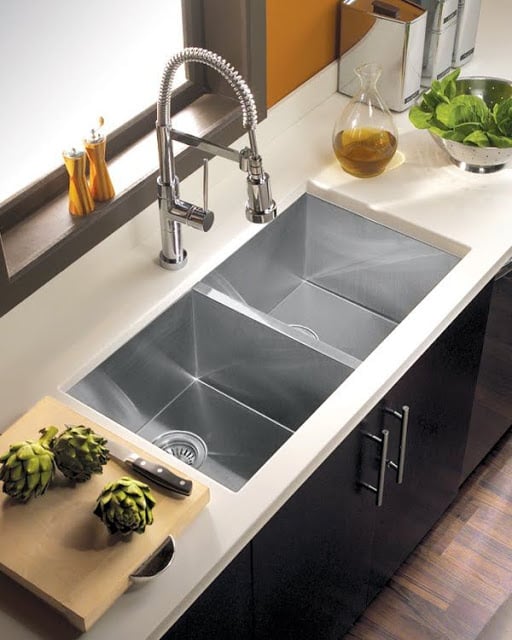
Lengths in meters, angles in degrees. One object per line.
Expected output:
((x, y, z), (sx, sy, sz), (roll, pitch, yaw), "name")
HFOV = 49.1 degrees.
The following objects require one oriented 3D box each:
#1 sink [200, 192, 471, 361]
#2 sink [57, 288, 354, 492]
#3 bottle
((0.161, -0.094, 1.304), (0.450, 0.283, 0.449), (33, 61, 23), "sink")
((-0.087, 0.189, 1.106), (0.431, 0.259, 0.430), (30, 50, 24), "sink")
((0.280, -0.467, 1.335), (0.192, 0.244, 0.149), (-7, 34, -6), "bottle")
